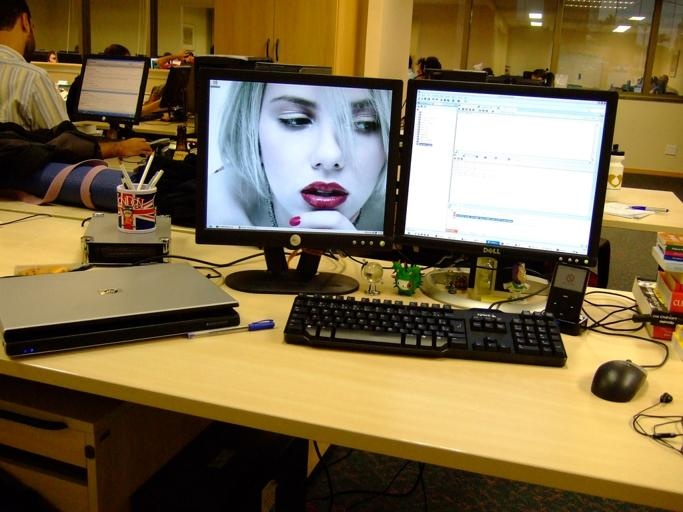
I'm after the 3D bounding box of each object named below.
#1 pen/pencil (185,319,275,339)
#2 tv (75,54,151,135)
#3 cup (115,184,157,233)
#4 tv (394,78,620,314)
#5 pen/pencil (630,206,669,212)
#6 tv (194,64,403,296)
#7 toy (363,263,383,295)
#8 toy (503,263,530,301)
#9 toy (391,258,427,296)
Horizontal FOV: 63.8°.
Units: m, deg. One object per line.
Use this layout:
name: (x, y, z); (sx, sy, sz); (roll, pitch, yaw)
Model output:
pen/pencil: (-0.269, 0.172, 1.293); (0.194, 0.025, 0.027); (-6, 6, -22)
tv: (-1.535, -1.091, 3.527); (0.197, 0.433, 0.526); (30, 22, 12)
cup: (-0.630, -0.149, 1.690); (0.120, 0.127, 0.117); (4, 16, -1)
tv: (0.421, -0.154, 1.466); (0.691, 0.664, 0.261); (8, 13, 10)
pen/pencil: (1.535, -0.238, 2.763); (0.159, 0.021, 0.021); (7, 34, 8)
tv: (-0.119, -0.200, 1.497); (0.669, 0.689, 0.242); (2, 11, -5)
toy: (0.091, 0.062, 1.606); (0.068, 0.091, 0.066); (-12, 19, -42)
toy: (0.501, 0.072, 1.571); (0.083, 0.108, 0.061); (3, -1, -18)
toy: (0.192, 0.064, 1.584); (0.097, 0.096, 0.103); (5, 15, 19)
